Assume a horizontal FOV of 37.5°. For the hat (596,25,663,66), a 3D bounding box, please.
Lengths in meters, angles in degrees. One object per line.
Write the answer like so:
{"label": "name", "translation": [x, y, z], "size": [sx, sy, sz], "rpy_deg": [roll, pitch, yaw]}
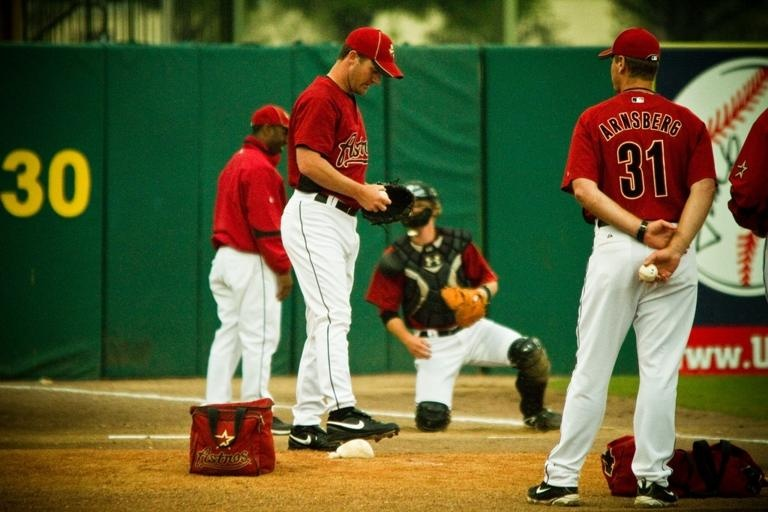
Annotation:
{"label": "hat", "translation": [1.943, -1.609, 8.837], "size": [0.365, 0.255, 0.466], "rpy_deg": [6, -1, -37]}

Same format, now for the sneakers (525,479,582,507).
{"label": "sneakers", "translation": [1.296, 1.809, 8.663], "size": [0.379, 0.196, 0.167], "rpy_deg": [6, 2, 11]}

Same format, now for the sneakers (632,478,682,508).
{"label": "sneakers", "translation": [2.054, 1.796, 8.528], "size": [0.318, 0.210, 0.163], "rpy_deg": [-1, 1, 0]}

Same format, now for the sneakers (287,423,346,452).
{"label": "sneakers", "translation": [-0.523, 1.531, 9.478], "size": [0.497, 0.223, 0.186], "rpy_deg": [0, -2, 12]}

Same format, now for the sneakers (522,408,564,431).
{"label": "sneakers", "translation": [1.430, 1.492, 10.263], "size": [0.299, 0.138, 0.175], "rpy_deg": [-4, 12, 18]}

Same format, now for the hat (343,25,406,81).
{"label": "hat", "translation": [-0.030, -1.711, 9.406], "size": [0.558, 0.285, 0.364], "rpy_deg": [30, 10, 13]}

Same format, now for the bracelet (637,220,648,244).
{"label": "bracelet", "translation": [1.941, -0.174, 8.507], "size": [0.083, 0.138, 0.127], "rpy_deg": [18, 46, 22]}

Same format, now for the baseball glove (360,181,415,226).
{"label": "baseball glove", "translation": [0.057, -0.418, 9.473], "size": [0.417, 0.324, 0.192], "rpy_deg": [-14, 10, 7]}

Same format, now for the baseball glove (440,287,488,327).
{"label": "baseball glove", "translation": [0.713, 0.461, 9.917], "size": [0.390, 0.328, 0.196], "rpy_deg": [2, 0, 6]}

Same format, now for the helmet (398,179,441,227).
{"label": "helmet", "translation": [0.364, -0.439, 10.012], "size": [0.311, 0.365, 0.396], "rpy_deg": [4, 0, 12]}

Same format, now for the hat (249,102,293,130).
{"label": "hat", "translation": [-1.002, -1.238, 10.265], "size": [0.387, 0.222, 0.271], "rpy_deg": [5, 16, 8]}

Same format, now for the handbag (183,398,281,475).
{"label": "handbag", "translation": [-1.231, 1.472, 9.181], "size": [0.747, 0.618, 0.433], "rpy_deg": [0, -2, 9]}

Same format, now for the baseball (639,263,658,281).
{"label": "baseball", "translation": [1.974, 0.136, 8.479], "size": [0.138, 0.104, 0.099], "rpy_deg": [-21, -22, -31]}

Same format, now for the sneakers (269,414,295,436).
{"label": "sneakers", "translation": [-0.946, 1.527, 10.099], "size": [0.331, 0.143, 0.126], "rpy_deg": [3, 0, 19]}
